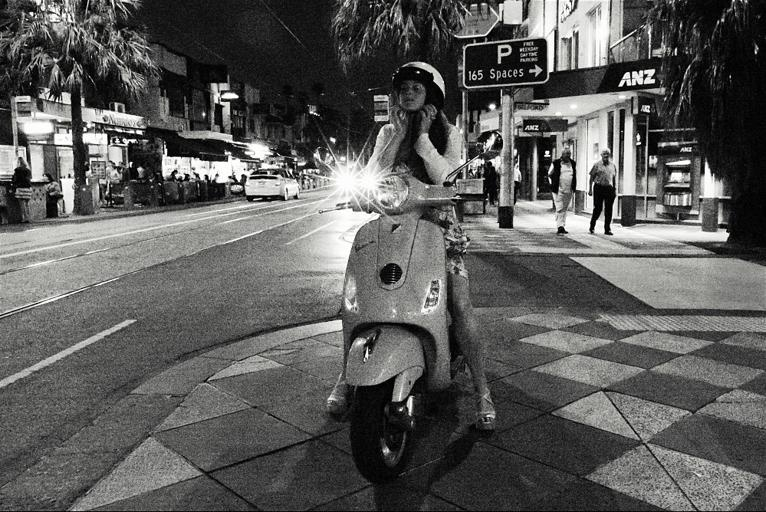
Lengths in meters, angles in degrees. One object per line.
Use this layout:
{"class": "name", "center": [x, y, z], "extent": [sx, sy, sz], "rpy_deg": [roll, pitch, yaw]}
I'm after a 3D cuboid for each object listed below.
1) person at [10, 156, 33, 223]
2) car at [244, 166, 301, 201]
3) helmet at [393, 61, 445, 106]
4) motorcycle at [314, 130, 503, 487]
{"class": "person", "center": [-12.105, -2.221, 21.260], "extent": [0.554, 2.213, 0.835], "rpy_deg": [-8, 14, -32]}
{"class": "car", "center": [-6.261, -4.215, 37.079], "extent": [1.430, 1.353, 3.800], "rpy_deg": [0, 13, 4]}
{"class": "helmet", "center": [0.311, -1.698, 5.862], "extent": [0.303, 0.366, 0.417], "rpy_deg": [9, 25, 18]}
{"class": "motorcycle", "center": [0.141, 0.554, 5.247], "extent": [0.952, 2.300, 1.048], "rpy_deg": [-2, 12, -4]}
